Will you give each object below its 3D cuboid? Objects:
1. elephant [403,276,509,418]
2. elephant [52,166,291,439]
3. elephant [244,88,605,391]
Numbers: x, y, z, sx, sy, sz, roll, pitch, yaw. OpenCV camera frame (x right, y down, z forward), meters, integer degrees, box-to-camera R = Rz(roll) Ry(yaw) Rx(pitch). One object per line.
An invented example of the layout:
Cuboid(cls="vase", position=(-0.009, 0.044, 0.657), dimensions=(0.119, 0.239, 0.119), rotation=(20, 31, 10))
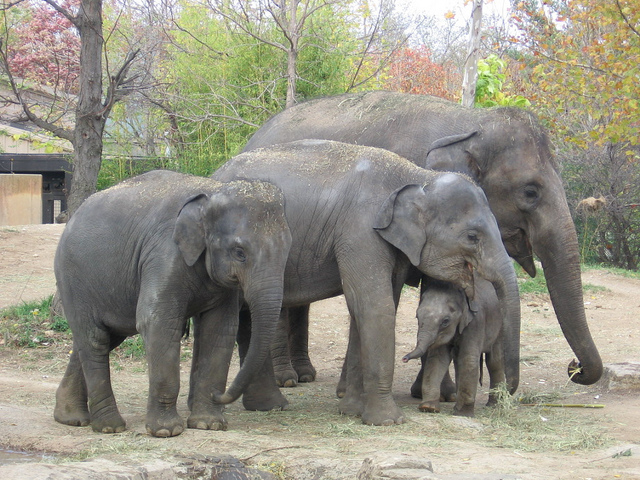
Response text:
Cuboid(cls="elephant", position=(1.301, 0.929, 6.940), dimensions=(1.471, 1.328, 0.616), rotation=(13, -10, -42))
Cuboid(cls="elephant", position=(-1.367, 0.574, 6.556), dimensions=(2.498, 2.148, 1.133), rotation=(-3, -4, 30))
Cuboid(cls="elephant", position=(0.810, -0.610, 8.269), dimensions=(4.915, 2.921, 1.890), rotation=(11, 16, 17))
